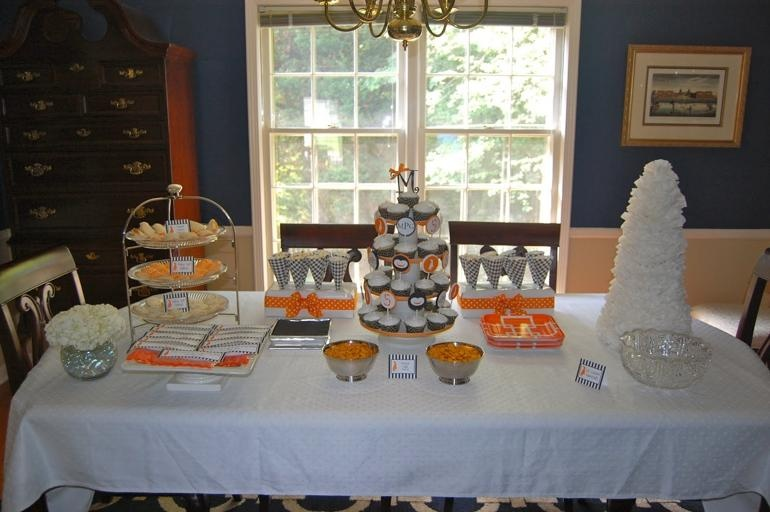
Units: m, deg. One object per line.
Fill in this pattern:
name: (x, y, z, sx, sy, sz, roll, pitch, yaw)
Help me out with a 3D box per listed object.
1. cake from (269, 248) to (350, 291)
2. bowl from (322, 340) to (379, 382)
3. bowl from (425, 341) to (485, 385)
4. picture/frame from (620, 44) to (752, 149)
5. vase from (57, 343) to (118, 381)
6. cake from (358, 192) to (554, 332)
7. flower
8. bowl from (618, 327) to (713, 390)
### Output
cake: (-0.374, 0.063, 2.926, 0.396, 0.182, 0.184, -3, 15, -6)
bowl: (-0.140, 0.427, 2.354, 0.214, 0.099, 0.209, 0, 16, 0)
bowl: (0.279, 0.437, 2.336, 0.182, 0.083, 0.175, 11, 14, -3)
picture/frame: (2.291, -1.250, 4.429, 0.819, 0.616, 0.034, 1, 9, -3)
vase: (-1.207, 0.417, 2.336, 0.177, 0.113, 0.168, 0, 8, -15)
cake: (0.280, 0.026, 2.597, 0.623, 0.622, 0.598, 0, 10, 1)
flower: (-1.220, 0.282, 2.348, 0.244, 0.090, 0.205, 2, 29, -3)
bowl: (1.139, 0.419, 2.364, 0.301, 0.076, 0.222, 9, 40, 23)
